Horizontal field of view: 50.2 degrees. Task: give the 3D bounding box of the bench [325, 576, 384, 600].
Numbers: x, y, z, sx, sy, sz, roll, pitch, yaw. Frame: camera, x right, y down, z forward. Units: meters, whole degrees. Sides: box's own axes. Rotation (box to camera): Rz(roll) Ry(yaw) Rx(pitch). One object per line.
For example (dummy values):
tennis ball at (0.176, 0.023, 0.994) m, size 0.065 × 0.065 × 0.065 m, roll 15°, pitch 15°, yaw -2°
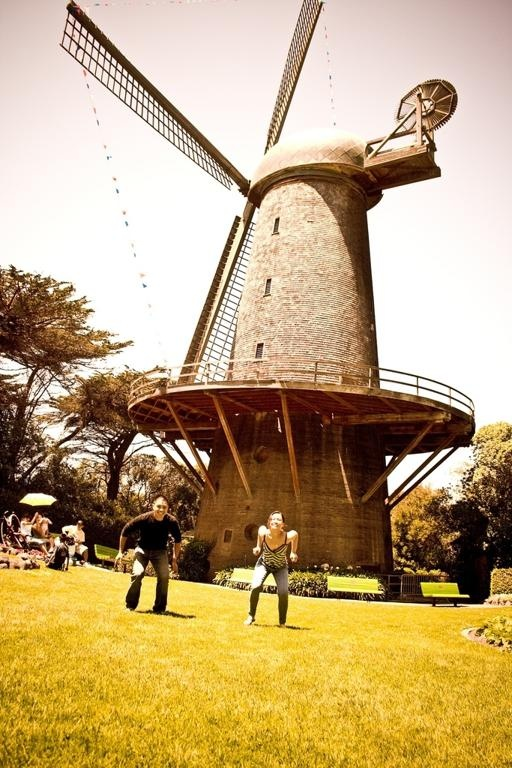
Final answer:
bench at (3.334, 6.885, 18.600) m, size 1.851 × 0.803 × 2.366 m, roll 0°, pitch -16°, yaw 10°
